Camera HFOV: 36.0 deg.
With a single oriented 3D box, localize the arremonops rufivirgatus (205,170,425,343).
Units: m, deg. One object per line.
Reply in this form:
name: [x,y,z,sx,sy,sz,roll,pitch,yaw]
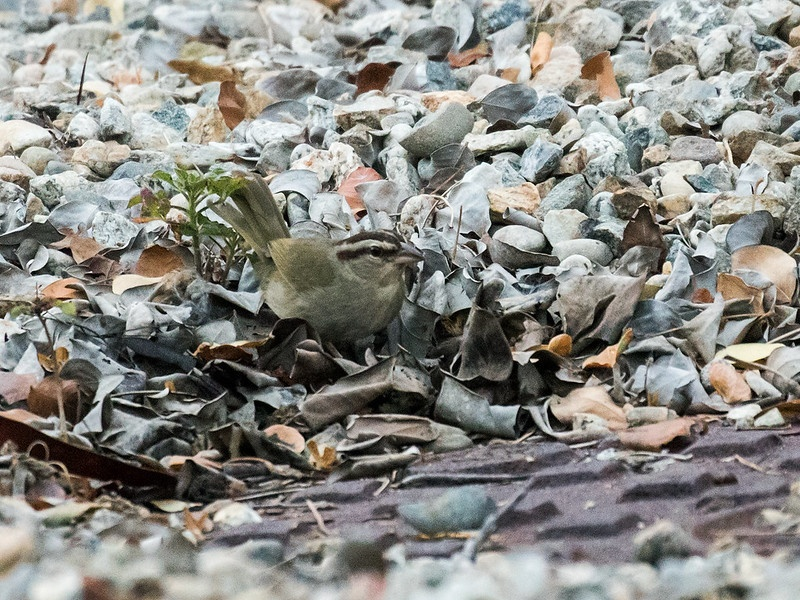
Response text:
arremonops rufivirgatus: [-0.306,-0.176,5.157,0.982,0.572,0.582,20,33,36]
